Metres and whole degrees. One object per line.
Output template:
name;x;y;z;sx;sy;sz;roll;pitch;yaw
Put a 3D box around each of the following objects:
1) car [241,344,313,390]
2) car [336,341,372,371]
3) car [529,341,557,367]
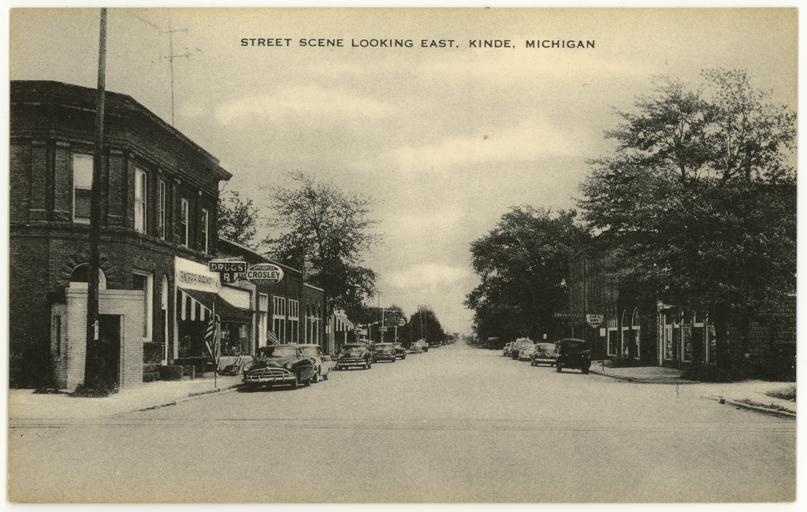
car;-5.527;4.968;42.547;2.312;1.921;3.337;2;4;9
car;-2.967;6.250;58.717;1.915;1.364;3.140;1;4;1
car;9.554;6.741;65.152;1.777;1.539;3.224;0;-3;6
